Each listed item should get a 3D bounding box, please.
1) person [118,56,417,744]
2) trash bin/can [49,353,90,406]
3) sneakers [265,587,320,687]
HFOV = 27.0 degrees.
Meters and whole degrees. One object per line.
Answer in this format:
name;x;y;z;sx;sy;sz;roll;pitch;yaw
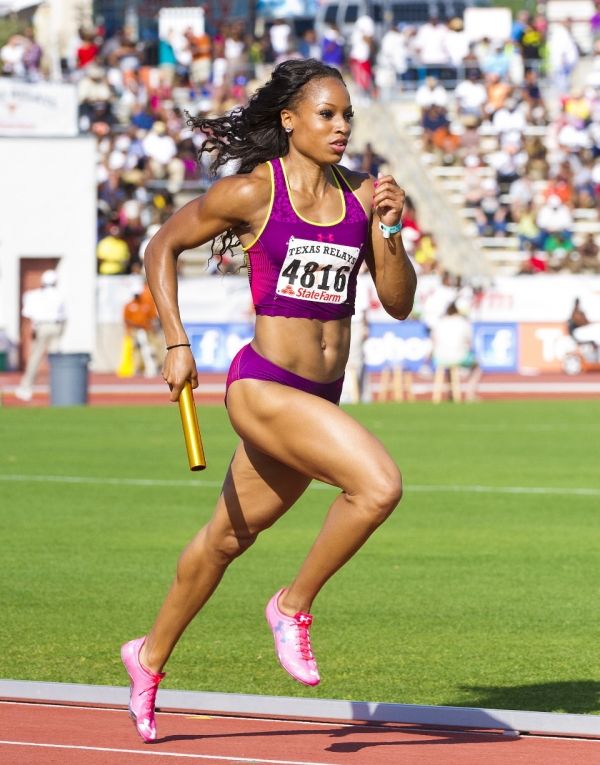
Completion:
person;-0.054;0.048;3.389;0.833;1.742;0.573;2;0;39
trash bin/can;-2.839;-0.044;15.362;0.546;0.573;0.585;-8;19;-25
sneakers;-0.018;0.676;3.306;0.110;0.238;0.243;2;0;-15
